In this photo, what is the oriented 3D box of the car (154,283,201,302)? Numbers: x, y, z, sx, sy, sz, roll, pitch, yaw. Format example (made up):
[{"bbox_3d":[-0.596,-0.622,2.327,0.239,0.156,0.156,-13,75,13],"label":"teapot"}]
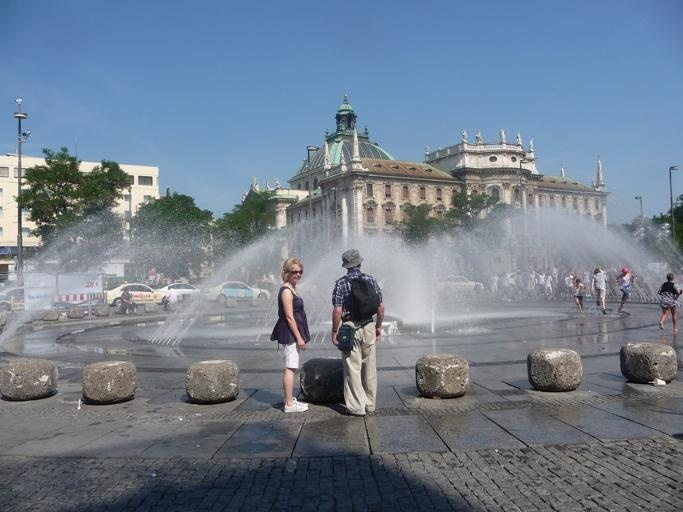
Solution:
[{"bbox_3d":[-8.970,1.986,37.797,2.251,0.714,1.010,-3,3,-44],"label":"car"}]

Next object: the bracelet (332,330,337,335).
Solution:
[{"bbox_3d":[-0.090,1.058,9.720,0.056,0.052,0.055,2,-4,-17],"label":"bracelet"}]

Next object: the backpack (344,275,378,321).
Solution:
[{"bbox_3d":[0.303,0.582,9.640,0.418,0.585,0.598,-4,-1,-31],"label":"backpack"}]

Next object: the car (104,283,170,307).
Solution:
[{"bbox_3d":[-10.415,1.994,35.548,3.022,0.923,1.220,-3,2,-17],"label":"car"}]

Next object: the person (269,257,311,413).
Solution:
[{"bbox_3d":[-0.734,1.123,10.052,0.522,2.184,0.576,-2,3,-5],"label":"person"}]

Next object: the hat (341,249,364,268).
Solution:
[{"bbox_3d":[0.166,0.030,9.966,0.265,0.139,0.277,8,24,36],"label":"hat"}]

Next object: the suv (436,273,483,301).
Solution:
[{"bbox_3d":[5.549,1.629,32.957,3.138,1.068,1.398,-7,6,-42],"label":"suv"}]

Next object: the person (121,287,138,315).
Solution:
[{"bbox_3d":[-9.259,1.943,30.174,0.593,0.957,1.108,-3,3,-15],"label":"person"}]

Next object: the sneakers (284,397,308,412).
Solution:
[{"bbox_3d":[-0.649,2.129,10.029,0.393,0.183,0.145,-2,3,-11],"label":"sneakers"}]

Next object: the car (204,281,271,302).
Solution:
[{"bbox_3d":[-6.040,2.051,40.582,3.018,0.878,1.252,-3,1,-27],"label":"car"}]
